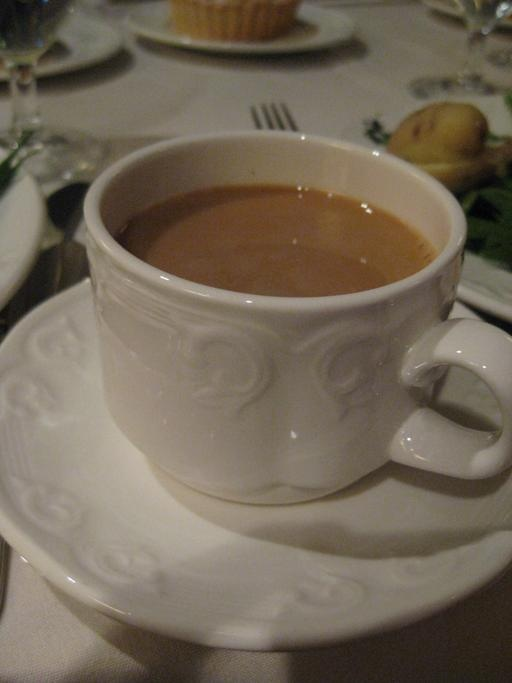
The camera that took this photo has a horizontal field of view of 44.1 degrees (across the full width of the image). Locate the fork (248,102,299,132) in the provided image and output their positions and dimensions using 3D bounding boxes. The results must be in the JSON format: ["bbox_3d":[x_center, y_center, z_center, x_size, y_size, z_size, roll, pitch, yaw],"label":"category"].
[{"bbox_3d":[0.019,-0.260,0.741,0.047,0.016,0.086,-6,39,-9],"label":"fork"}]
